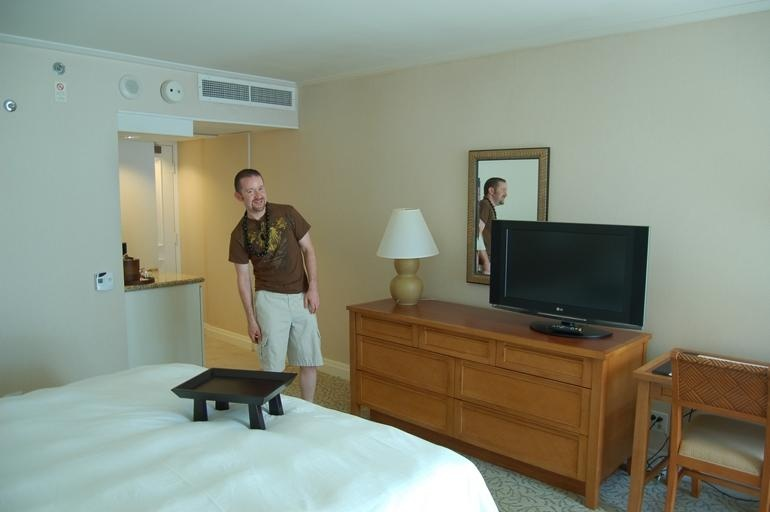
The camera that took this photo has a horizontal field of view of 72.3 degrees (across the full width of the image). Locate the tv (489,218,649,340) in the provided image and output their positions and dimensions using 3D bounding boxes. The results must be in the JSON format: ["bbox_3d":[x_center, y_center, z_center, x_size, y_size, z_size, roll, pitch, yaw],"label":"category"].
[{"bbox_3d":[1.350,0.169,3.774,0.896,0.603,0.245,4,4,34],"label":"tv"}]

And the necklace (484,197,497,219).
[{"bbox_3d":[0.875,-0.398,4.376,0.094,0.170,0.128,-12,21,-22],"label":"necklace"}]

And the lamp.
[{"bbox_3d":[0.179,0.015,4.451,0.441,0.805,0.349,-6,11,-26],"label":"lamp"}]

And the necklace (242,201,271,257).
[{"bbox_3d":[-1.021,-0.203,4.188,0.228,0.412,0.118,-3,10,-13],"label":"necklace"}]
